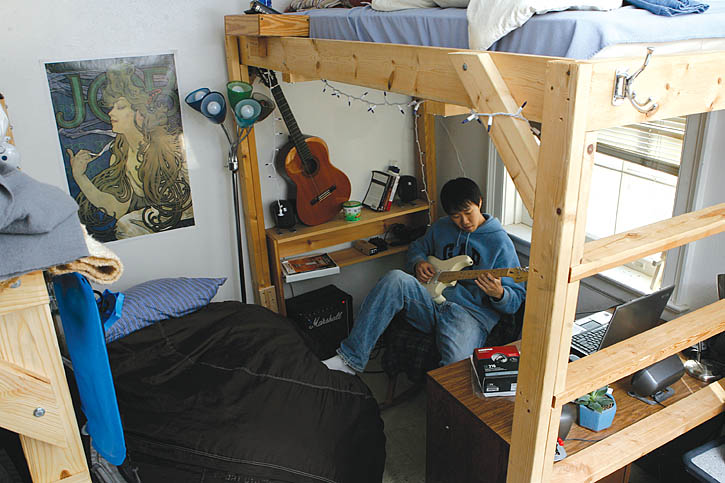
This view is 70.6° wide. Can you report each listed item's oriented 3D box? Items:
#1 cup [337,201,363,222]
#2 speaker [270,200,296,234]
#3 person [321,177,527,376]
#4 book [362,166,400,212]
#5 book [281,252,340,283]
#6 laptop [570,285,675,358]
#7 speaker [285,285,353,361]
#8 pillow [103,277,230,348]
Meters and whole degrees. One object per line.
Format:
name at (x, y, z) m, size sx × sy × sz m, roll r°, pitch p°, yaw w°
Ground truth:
cup at (-0.098, -0.245, 3.934) m, size 0.167 × 0.135 × 0.149 m, roll 1°, pitch 18°, yaw 3°
speaker at (-0.590, -0.197, 3.818) m, size 0.187 × 0.224 × 0.227 m, roll -20°, pitch 72°, yaw -19°
person at (0.457, 0.257, 3.387) m, size 1.087 × 1.288 × 1.273 m, roll 15°, pitch 23°, yaw 30°
book at (0.141, -0.414, 4.106) m, size 0.119 × 0.338 × 0.262 m, roll 7°, pitch 20°, yaw -28°
book at (-0.409, 0.193, 3.864) m, size 0.328 × 0.071 × 0.221 m, roll -8°, pitch 26°, yaw -20°
laptop at (1.230, 0.421, 2.580) m, size 0.337 × 0.185 × 0.276 m, roll -10°, pitch 37°, yaw -19°
speaker at (-0.285, 0.723, 4.119) m, size 0.333 × 0.543 × 0.562 m, roll -13°, pitch -14°, yaw -3°
pillow at (-1.283, 0.402, 3.278) m, size 0.453 × 0.130 × 0.386 m, roll -24°, pitch 35°, yaw -35°
